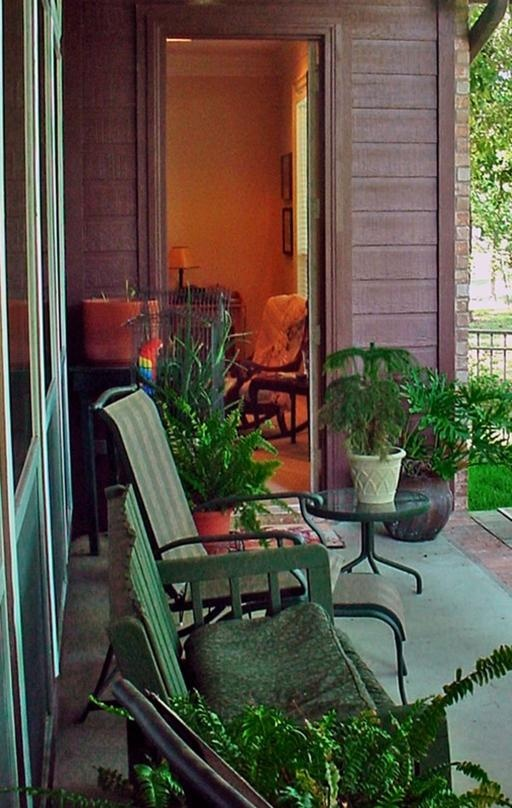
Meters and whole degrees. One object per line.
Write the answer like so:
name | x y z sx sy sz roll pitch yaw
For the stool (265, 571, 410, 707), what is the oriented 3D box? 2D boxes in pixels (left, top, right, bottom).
stool | 0.265 0.627 2.322 0.391 0.471 0.454 4 7 3

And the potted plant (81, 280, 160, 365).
potted plant | -0.803 -0.389 3.939 0.326 0.347 0.364 11 17 33

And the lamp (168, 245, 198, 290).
lamp | -0.836 -1.517 8.007 0.316 0.436 0.350 -3 9 -8

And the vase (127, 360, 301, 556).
vase | -0.167 0.271 2.696 0.506 1.050 0.514 -1 6 -3

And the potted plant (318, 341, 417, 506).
potted plant | 0.483 0.074 3.034 0.355 0.707 0.314 -5 6 -38

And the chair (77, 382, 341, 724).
chair | -0.115 0.430 2.312 0.759 1.123 0.626 -4 -7 2

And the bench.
bench | -0.003 0.453 1.299 0.517 0.604 0.519 2 8 -13
